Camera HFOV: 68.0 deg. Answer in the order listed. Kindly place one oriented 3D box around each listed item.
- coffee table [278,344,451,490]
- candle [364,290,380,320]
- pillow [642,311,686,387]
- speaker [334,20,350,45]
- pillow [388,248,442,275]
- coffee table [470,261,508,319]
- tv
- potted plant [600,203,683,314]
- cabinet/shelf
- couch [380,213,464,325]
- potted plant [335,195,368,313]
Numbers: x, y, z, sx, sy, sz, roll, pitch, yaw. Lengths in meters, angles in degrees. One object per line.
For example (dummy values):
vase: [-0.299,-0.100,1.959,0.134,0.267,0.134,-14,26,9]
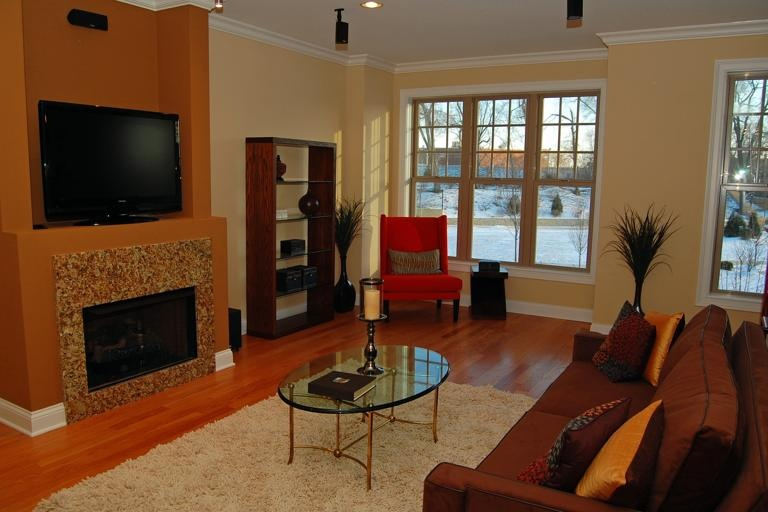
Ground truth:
coffee table: [-0.104,1.189,4.150,1.019,0.571,1.502,2,3,31]
candle: [-0.080,0.335,3.994,0.115,0.207,0.197,-1,11,-2]
pillow: [1.980,0.657,4.094,0.183,0.447,0.453,20,-4,15]
speaker: [-0.388,-2.022,5.190,0.098,0.205,0.195,-2,11,-9]
pillow: [0.387,0.081,6.978,0.648,0.281,0.227,-2,11,-6]
coffee table: [1.304,0.416,7.107,0.439,0.688,0.390,1,11,7]
tv: [-2.264,-0.742,4.625,0.305,0.874,1.124,5,7,40]
potted plant: [2.759,0.025,6.263,0.562,1.165,0.617,-9,14,-38]
cabinet/shelf: [-1.055,-0.247,6.490,0.562,2.144,1.182,6,13,31]
couch: [0.433,0.121,7.361,1.188,1.558,1.243,0,0,-5]
potted plant: [-0.449,-0.004,7.341,0.378,1.375,0.594,-1,11,-2]
